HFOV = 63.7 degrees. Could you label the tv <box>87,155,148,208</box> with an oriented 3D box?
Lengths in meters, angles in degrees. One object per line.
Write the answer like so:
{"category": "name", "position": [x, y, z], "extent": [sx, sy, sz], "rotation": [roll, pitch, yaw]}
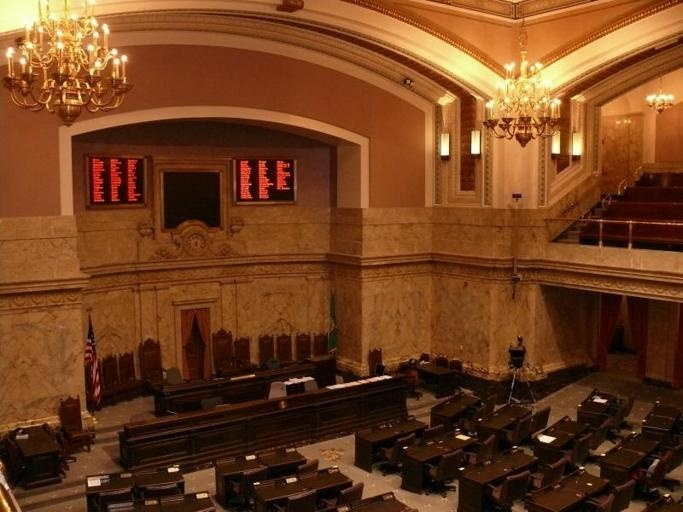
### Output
{"category": "tv", "position": [-5.805, -1.931, 14.068], "extent": [1.388, 1.190, 0.112], "rotation": [-3, 5, -39]}

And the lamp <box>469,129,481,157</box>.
{"category": "lamp", "position": [3.571, -3.026, 14.695], "extent": [0.311, 0.728, 0.187], "rotation": [0, 3, 29]}

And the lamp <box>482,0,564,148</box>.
{"category": "lamp", "position": [3.520, -3.333, 10.482], "extent": [1.243, 2.373, 1.278], "rotation": [-5, 8, -29]}

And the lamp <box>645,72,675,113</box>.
{"category": "lamp", "position": [9.886, -5.049, 17.078], "extent": [0.802, 1.127, 0.889], "rotation": [0, 3, 30]}

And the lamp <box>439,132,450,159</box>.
{"category": "lamp", "position": [2.871, -3.093, 15.339], "extent": [0.289, 0.738, 0.122], "rotation": [-1, 3, 15]}

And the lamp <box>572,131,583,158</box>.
{"category": "lamp", "position": [6.453, -3.052, 15.023], "extent": [0.413, 0.652, 0.138], "rotation": [-4, 3, -28]}

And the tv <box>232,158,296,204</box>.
{"category": "tv", "position": [-2.328, -2.169, 15.799], "extent": [1.323, 0.967, 0.180], "rotation": [-1, 4, -17]}
